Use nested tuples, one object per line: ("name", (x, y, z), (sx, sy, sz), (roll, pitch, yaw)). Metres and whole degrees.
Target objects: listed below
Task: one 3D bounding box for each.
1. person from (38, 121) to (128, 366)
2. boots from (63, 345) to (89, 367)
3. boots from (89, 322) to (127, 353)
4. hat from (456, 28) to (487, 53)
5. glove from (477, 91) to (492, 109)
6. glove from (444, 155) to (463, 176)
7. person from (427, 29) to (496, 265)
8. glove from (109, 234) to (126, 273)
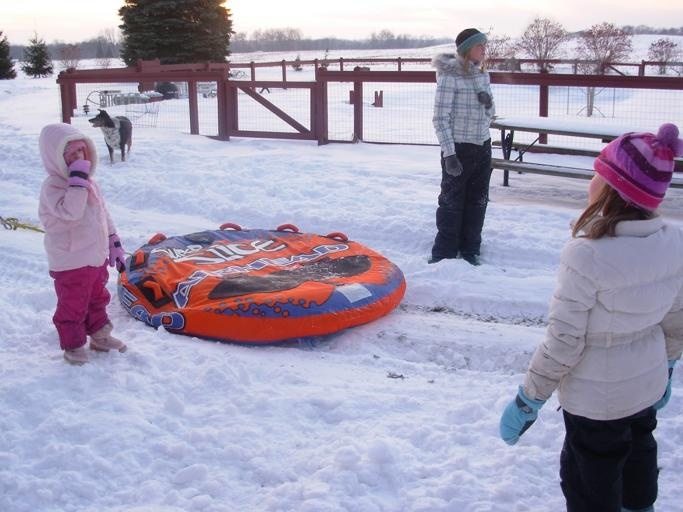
("person", (-1.800, -0.106, 4.699), (0.535, 1.621, 0.600), (14, 21, 42))
("boots", (-1.805, 0.686, 4.620), (0.188, 0.111, 0.093), (-10, -6, 41))
("boots", (-1.715, 0.572, 4.898), (0.332, 0.270, 0.143), (0, 24, -21))
("hat", (1.257, -2.078, 6.479), (0.264, 0.231, 0.260), (2, 15, 9))
("glove", (1.396, -1.536, 6.564), (0.132, 0.154, 0.059), (-4, 18, 25))
("glove", (1.114, -0.903, 6.646), (0.187, 0.235, 0.139), (2, 15, 9))
("person", (1.231, -1.067, 6.768), (0.655, 2.334, 0.447), (-2, 16, -4))
("glove", (-1.702, -0.021, 4.982), (0.074, 0.255, 0.160), (-8, 5, 43))
